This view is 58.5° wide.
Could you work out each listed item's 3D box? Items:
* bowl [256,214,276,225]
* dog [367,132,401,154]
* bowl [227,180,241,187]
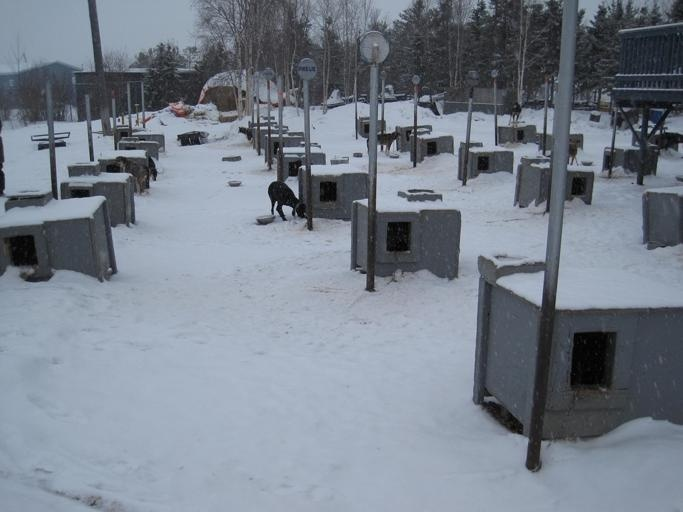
[{"bbox_3d":[-1.995,-0.917,15.953,0.496,0.200,0.455,0,16,0],"label":"bowl"},{"bbox_3d":[2.335,-5.755,30.663,0.947,1.014,2.427,0,16,2],"label":"dog"},{"bbox_3d":[-3.760,-2.498,21.343,0.465,0.153,0.529,-2,16,-7],"label":"bowl"}]
